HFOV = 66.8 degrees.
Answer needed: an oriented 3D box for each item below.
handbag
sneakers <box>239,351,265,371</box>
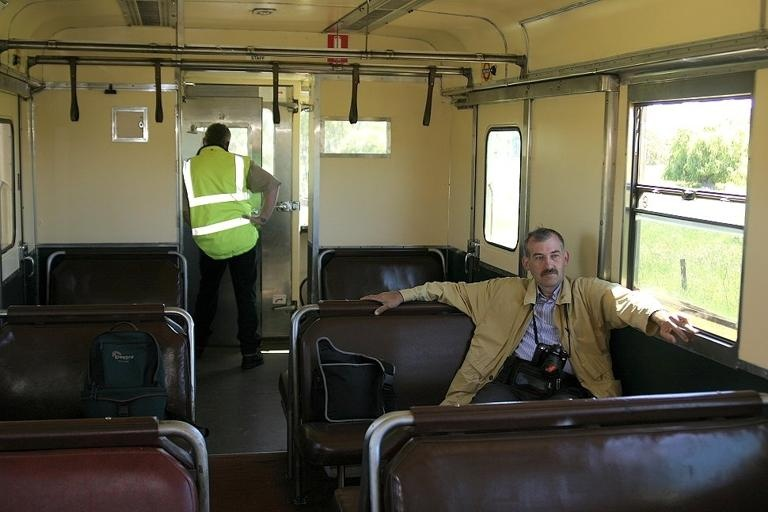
[{"bbox_3d":[-0.224,0.921,4.359,0.598,0.600,0.442,1,-9,-13],"label":"handbag"},{"bbox_3d":[-1.641,1.313,7.352,0.140,0.218,0.359,6,12,33],"label":"sneakers"}]
